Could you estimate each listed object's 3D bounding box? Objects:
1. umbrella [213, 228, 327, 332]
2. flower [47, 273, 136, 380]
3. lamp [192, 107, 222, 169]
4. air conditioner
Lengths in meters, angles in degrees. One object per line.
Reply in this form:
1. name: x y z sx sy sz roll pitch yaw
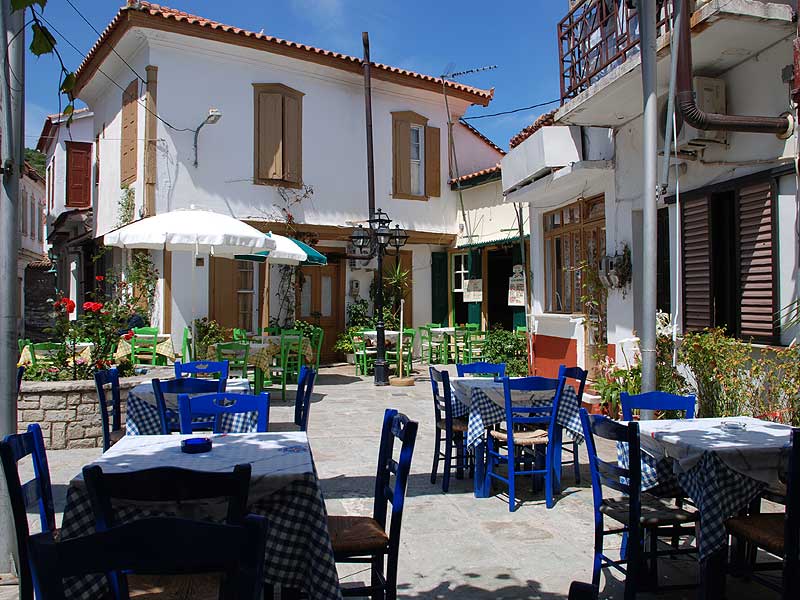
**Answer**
1. umbrella: -2.495 -0.335 14.598 1.623 2.017 1.698 4 -1 31
2. flower: -4.448 0.359 11.477 1.180 1.874 1.169 5 10 -21
3. lamp: -3.612 -3.005 14.591 0.488 1.483 0.709 -1 16 -29
4. air conditioner: 3.250 -1.965 8.772 0.525 1.029 1.080 1 -7 1
